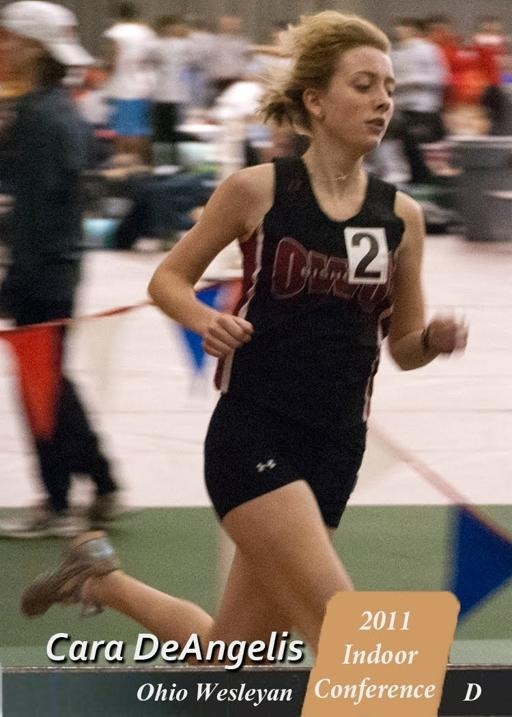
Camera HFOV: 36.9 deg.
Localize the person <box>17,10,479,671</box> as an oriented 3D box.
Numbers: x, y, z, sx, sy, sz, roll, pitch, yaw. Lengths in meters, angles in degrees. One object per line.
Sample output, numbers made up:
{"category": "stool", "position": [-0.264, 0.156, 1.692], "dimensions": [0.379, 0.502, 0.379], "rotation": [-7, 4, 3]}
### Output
{"category": "person", "position": [0.014, 0.015, 1.522], "dimensions": [0.753, 1.299, 0.463], "rotation": [15, 29, 32]}
